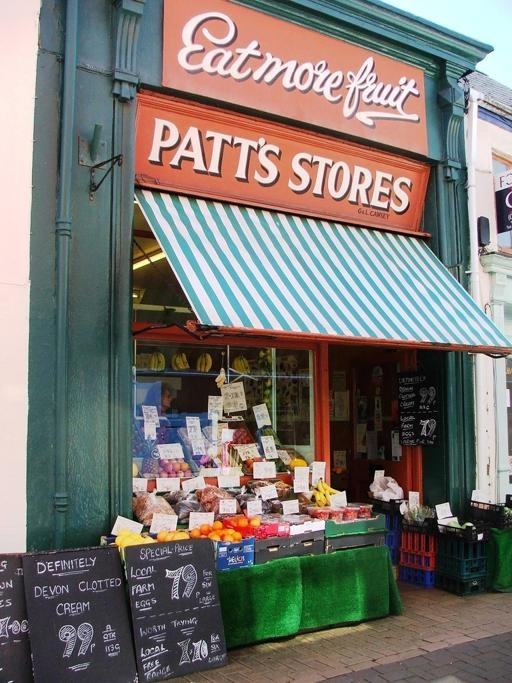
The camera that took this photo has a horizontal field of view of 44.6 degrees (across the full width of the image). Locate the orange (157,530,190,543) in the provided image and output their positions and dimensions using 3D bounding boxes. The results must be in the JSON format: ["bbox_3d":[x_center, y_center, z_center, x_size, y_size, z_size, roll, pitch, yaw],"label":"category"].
[{"bbox_3d":[-0.639,1.525,4.866,0.251,0.091,0.148,2,-10,-19],"label":"orange"}]

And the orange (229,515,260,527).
[{"bbox_3d":[-0.110,1.590,5.407,0.238,0.093,0.101,-7,10,39],"label":"orange"}]

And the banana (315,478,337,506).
[{"bbox_3d":[0.712,1.585,6.505,0.176,0.244,0.097,1,-43,-20],"label":"banana"}]

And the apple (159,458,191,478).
[{"bbox_3d":[-0.778,1.236,6.022,0.092,0.211,0.362,-7,-4,38],"label":"apple"}]

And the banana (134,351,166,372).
[{"bbox_3d":[-0.997,0.199,6.018,0.220,0.170,0.084,7,-8,-30],"label":"banana"}]

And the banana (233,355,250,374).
[{"bbox_3d":[-0.154,0.255,6.633,0.162,0.198,0.057,-24,18,-41],"label":"banana"}]

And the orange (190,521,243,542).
[{"bbox_3d":[-0.306,1.592,5.160,0.249,0.093,0.256,7,-11,0],"label":"orange"}]

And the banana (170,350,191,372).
[{"bbox_3d":[-0.760,0.197,6.218,0.140,0.193,0.058,-15,2,-32],"label":"banana"}]

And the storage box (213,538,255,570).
[{"bbox_3d":[-0.173,1.712,4.985,0.243,0.159,0.243,2,-3,-18],"label":"storage box"}]

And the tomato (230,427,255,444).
[{"bbox_3d":[-0.138,0.997,6.605,0.177,0.078,0.183,15,2,30],"label":"tomato"}]
